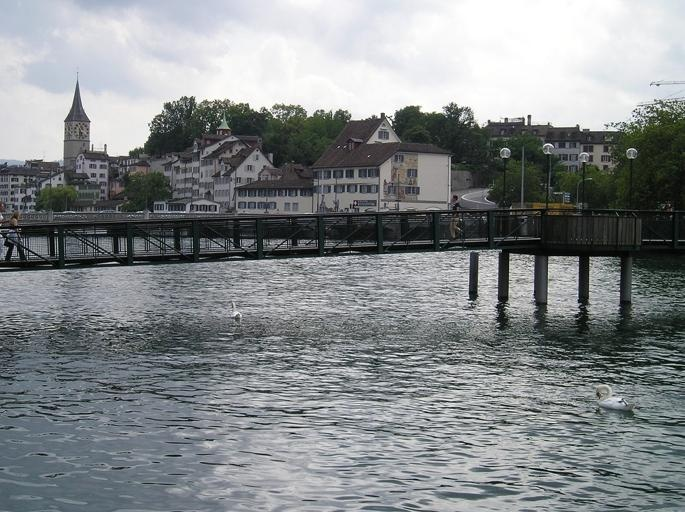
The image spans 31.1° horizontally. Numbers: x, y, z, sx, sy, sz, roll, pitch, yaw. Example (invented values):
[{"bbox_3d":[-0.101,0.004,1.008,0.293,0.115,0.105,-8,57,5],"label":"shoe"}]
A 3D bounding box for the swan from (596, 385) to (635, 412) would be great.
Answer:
[{"bbox_3d":[8.246,4.225,37.497,1.074,0.667,1.350,-1,11,4],"label":"swan"}]

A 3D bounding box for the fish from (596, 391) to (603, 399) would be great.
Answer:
[{"bbox_3d":[7.869,4.260,37.825,0.161,0.196,0.200,-5,-10,11],"label":"fish"}]
